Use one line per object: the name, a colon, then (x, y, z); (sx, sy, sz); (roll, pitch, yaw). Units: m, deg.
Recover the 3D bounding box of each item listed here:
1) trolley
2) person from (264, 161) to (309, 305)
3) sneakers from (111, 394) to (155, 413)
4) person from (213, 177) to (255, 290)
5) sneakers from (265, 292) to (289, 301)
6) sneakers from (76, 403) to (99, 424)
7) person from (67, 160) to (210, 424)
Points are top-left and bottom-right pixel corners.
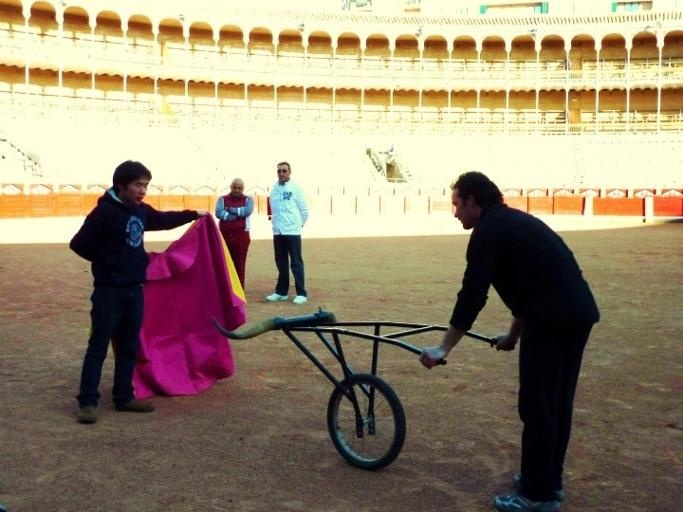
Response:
trolley: (0.028, 1.041, 6.710); (2.028, 1.123, 1.125); (7, -3, 4)
person: (-0.700, -0.332, 11.453); (0.573, 1.743, 1.367); (-3, 9, -2)
sneakers: (-1.717, 1.215, 7.364); (0.280, 0.117, 0.133); (-2, 4, -3)
person: (-1.295, -0.243, 11.053); (0.437, 1.430, 1.240); (-3, 9, -6)
sneakers: (-0.819, 0.519, 11.308); (0.247, 0.090, 0.108); (4, 3, -29)
sneakers: (-2.036, 1.266, 7.156); (0.164, 0.133, 0.331); (0, -1, -15)
person: (-1.771, 0.255, 7.337); (0.986, 2.060, 0.436); (-7, 10, -27)
